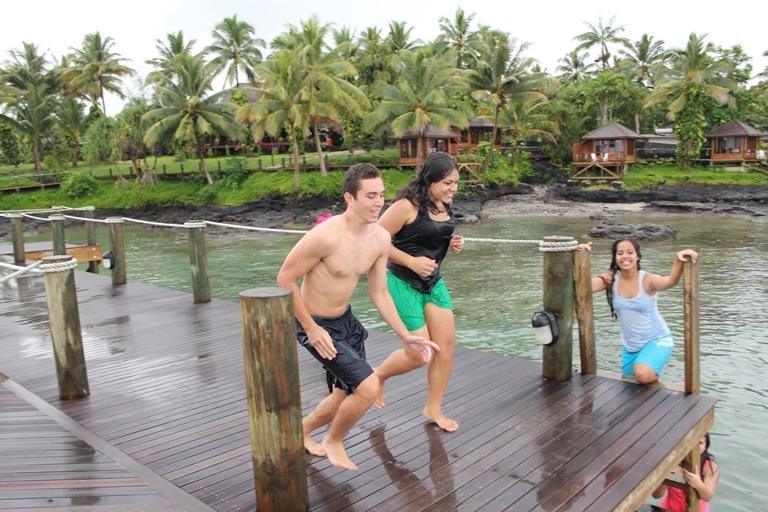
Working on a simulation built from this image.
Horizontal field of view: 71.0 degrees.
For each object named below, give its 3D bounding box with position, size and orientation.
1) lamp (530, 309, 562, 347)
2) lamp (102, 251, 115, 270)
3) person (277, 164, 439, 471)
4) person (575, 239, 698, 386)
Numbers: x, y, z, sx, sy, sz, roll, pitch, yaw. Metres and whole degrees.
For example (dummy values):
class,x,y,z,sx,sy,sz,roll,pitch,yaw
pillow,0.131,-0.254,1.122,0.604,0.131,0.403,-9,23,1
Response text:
class,x,y,z,sx,sy,sz,roll,pitch,yaw
lamp,1.584,0.705,5.315,0.232,0.355,0.297,-19,8,-31
lamp,-5.167,0.074,9.738,0.182,0.358,0.322,-13,17,-33
person,-0.303,0.493,4.192,0.961,2.373,0.838,2,16,19
person,2.694,0.620,5.559,0.760,1.547,0.936,-9,16,-23
